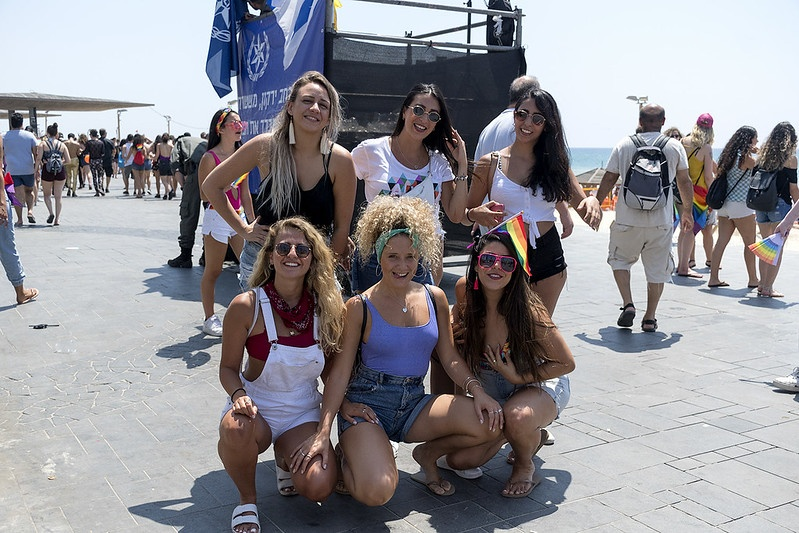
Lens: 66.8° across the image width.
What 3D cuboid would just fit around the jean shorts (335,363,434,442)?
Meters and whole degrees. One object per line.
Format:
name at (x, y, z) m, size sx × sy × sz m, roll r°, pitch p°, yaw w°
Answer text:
jean shorts at (-0.081, 0.886, 3.982) m, size 0.425 × 0.325 × 0.619 m, roll 14°, pitch -14°, yaw -6°

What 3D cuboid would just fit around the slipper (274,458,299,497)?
slipper at (-0.728, 1.391, 3.900) m, size 0.097 × 0.078 × 0.274 m, roll 0°, pitch -3°, yaw -19°

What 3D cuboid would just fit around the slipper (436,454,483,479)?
slipper at (0.416, 1.403, 4.240) m, size 0.316 × 0.124 × 0.130 m, roll 5°, pitch 11°, yaw 43°

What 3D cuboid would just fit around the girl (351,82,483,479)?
girl at (0.015, -0.086, 4.640) m, size 0.869 × 2.319 × 0.775 m, roll 3°, pitch 7°, yaw -9°

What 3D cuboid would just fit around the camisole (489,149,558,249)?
camisole at (0.956, -0.559, 4.821) m, size 0.679 × 0.802 × 0.510 m, roll 1°, pitch 2°, yaw -14°

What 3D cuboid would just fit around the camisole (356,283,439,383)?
camisole at (0.012, 0.434, 4.121) m, size 0.541 × 0.612 × 0.383 m, roll 0°, pitch -1°, yaw -31°

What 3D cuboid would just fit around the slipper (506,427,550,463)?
slipper at (0.976, 1.342, 4.455) m, size 0.129 × 0.457 × 0.166 m, roll 6°, pitch 40°, yaw -4°

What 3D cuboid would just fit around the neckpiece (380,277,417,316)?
neckpiece at (-0.016, 0.200, 3.973) m, size 0.233 × 0.202 × 0.113 m, roll -7°, pitch 10°, yaw -30°

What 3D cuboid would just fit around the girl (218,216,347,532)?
girl at (-0.792, 0.614, 3.783) m, size 0.670 × 1.740 × 0.978 m, roll 6°, pitch 15°, yaw 18°

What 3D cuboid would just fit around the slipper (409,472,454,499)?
slipper at (0.208, 1.426, 4.038) m, size 0.255 × 0.060 × 0.129 m, roll 15°, pitch 25°, yaw 41°

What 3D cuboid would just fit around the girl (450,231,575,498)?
girl at (0.655, 0.625, 4.277) m, size 0.984 × 1.641 × 0.952 m, roll 2°, pitch 15°, yaw 35°

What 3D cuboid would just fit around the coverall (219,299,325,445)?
coverall at (-0.731, 0.634, 4.054) m, size 0.565 × 0.910 × 0.578 m, roll 8°, pitch -2°, yaw 37°

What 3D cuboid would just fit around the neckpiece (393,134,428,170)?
neckpiece at (0.053, -0.870, 4.624) m, size 0.269 × 0.098 × 0.262 m, roll 33°, pitch 7°, yaw -28°

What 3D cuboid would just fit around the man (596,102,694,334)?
man at (2.871, -0.597, 7.227) m, size 0.987 × 2.608 × 0.991 m, roll 6°, pitch 15°, yaw 20°

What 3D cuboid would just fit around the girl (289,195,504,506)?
girl at (-0.055, 0.509, 3.988) m, size 1.366 × 1.886 × 1.125 m, roll 0°, pitch 2°, yaw -5°

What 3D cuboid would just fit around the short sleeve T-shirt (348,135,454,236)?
short sleeve T-shirt at (0.007, -0.579, 4.665) m, size 0.847 × 0.787 × 0.436 m, roll 11°, pitch -3°, yaw -10°
